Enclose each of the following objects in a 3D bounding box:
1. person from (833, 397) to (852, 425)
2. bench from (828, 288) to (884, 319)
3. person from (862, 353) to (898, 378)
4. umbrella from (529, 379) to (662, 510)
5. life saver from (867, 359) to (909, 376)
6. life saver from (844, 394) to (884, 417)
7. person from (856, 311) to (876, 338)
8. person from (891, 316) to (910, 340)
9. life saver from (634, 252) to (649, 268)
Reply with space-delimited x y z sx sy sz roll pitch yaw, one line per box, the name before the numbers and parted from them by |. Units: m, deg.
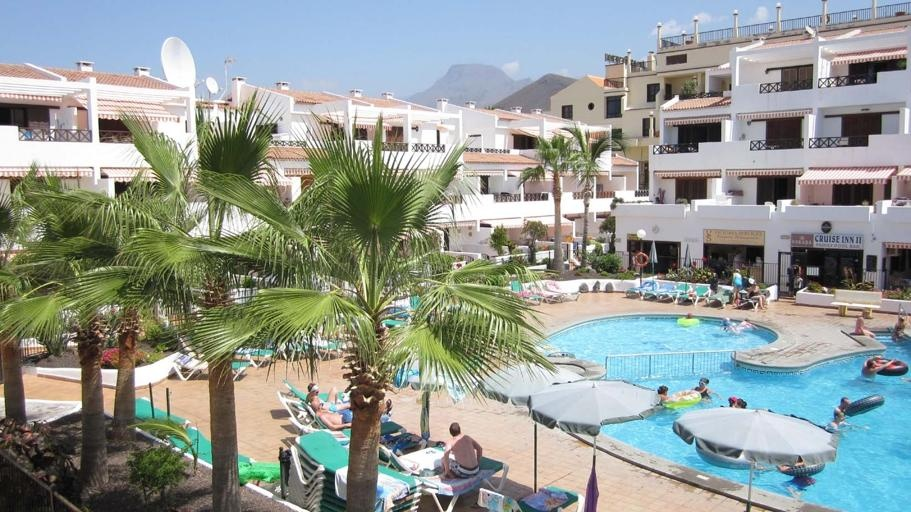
person | 14.127 5.776 28.305 0.460 0.931 1.182 4 4 32
bench | 20.321 2.431 39.009 2.153 1.257 1.602 4 4 30
person | 17.560 4.612 31.978 1.026 0.435 0.770 -14 13 7
umbrella | 4.149 5.672 23.860 3.120 3.295 3.220 -2 11 6
life saver | 17.798 4.716 31.898 1.625 0.667 0.400 3 4 16
life saver | 15.183 5.664 28.888 1.611 0.392 0.838 -12 7 -15
person | 19.001 3.314 35.883 0.937 1.015 0.911 -1 5 0
person | 20.542 3.363 35.599 0.617 1.003 1.160 4 4 30
life saver | 11.044 0.276 45.863 0.970 0.944 0.251 1 8 -21
